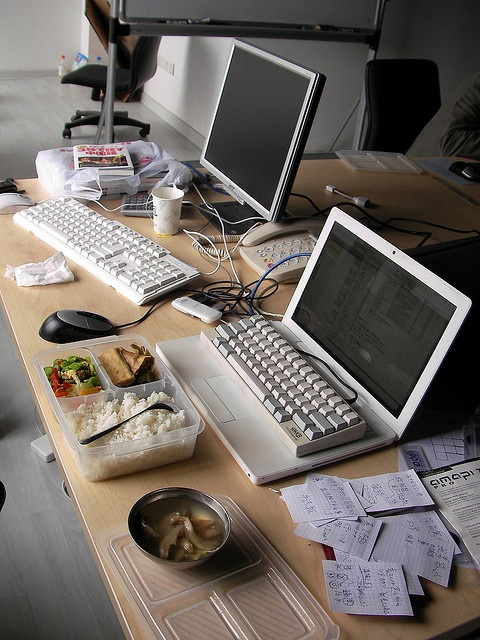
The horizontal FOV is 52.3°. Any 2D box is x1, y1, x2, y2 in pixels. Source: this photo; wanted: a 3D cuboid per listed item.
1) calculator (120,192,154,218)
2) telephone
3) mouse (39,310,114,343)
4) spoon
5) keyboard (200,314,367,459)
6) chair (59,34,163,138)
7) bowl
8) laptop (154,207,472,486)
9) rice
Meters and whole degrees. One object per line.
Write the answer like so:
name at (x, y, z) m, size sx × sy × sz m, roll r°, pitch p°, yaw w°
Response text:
calculator at (-0.280, -0.307, 1.323) m, size 0.072 × 0.021 × 0.097 m, roll -2°, pitch 40°, yaw -8°
telephone at (0.079, -0.172, 1.165) m, size 0.219 × 0.063 × 0.207 m, roll -17°, pitch 41°, yaw -24°
mouse at (-0.284, 0.001, 0.827) m, size 0.091 × 0.028 × 0.063 m, roll -7°, pitch 27°, yaw -31°
spoon at (-0.136, 0.126, 0.616) m, size 0.140 × 0.020 × 0.036 m, roll -21°, pitch 33°, yaw -28°
keyboard at (0.049, 0.090, 0.785) m, size 0.118 × 0.039 × 0.341 m, roll -16°, pitch 30°, yaw -22°
chair at (-1.018, -1.920, 3.808) m, size 0.697 × 0.873 × 0.699 m, roll -6°, pitch 14°, yaw -15°
bowl at (-0.063, 0.211, 0.503) m, size 0.101 × 0.034 × 0.092 m, roll 15°, pitch 27°, yaw -5°
laptop at (0.112, 0.083, 0.801) m, size 0.406 × 0.286 × 0.443 m, roll -10°, pitch 39°, yaw -24°
rice at (-0.142, 0.124, 0.625) m, size 0.098 × 0.029 × 0.070 m, roll -11°, pitch 39°, yaw -24°
